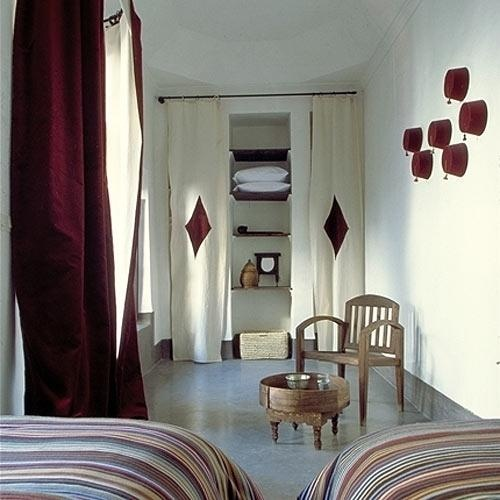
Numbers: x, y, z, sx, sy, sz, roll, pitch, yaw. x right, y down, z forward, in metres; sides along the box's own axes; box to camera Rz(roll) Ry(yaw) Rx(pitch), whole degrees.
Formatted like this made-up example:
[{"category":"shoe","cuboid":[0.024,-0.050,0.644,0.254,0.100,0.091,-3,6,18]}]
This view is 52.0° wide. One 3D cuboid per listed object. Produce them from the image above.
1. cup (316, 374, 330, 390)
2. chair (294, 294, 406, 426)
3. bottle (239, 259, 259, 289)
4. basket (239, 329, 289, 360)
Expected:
[{"category":"cup","cuboid":[0.437,0.788,3.070,0.059,0.103,0.073,0,-3,0]},{"category":"chair","cuboid":[0.756,0.675,3.952,0.641,1.315,0.779,4,-5,-43]},{"category":"bottle","cuboid":[-0.015,0.266,5.683,0.188,0.428,0.230,1,-7,-10]},{"category":"basket","cuboid":[0.155,1.043,5.564,0.543,0.281,0.185,0,-1,7]}]
